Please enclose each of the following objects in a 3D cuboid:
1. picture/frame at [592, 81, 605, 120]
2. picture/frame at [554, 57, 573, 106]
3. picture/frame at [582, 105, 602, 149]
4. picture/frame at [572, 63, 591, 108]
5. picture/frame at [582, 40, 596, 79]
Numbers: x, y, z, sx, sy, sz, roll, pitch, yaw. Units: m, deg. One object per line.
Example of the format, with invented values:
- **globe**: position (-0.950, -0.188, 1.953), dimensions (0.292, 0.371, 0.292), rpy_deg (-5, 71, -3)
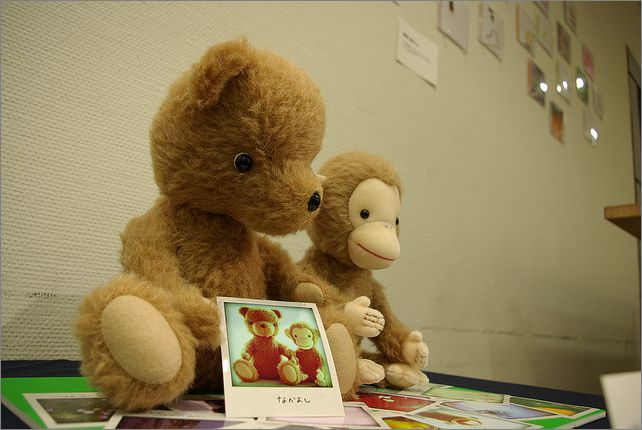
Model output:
- **picture/frame**: position (1.588, -0.654, 2.824), dimensions (0.025, 0.247, 0.257), rpy_deg (-5, -5, 42)
- **picture/frame**: position (1.244, -0.684, 2.539), dimensions (0.253, 0.243, 0.026), rpy_deg (12, -14, -40)
- **picture/frame**: position (1.486, -0.486, 2.718), dimensions (0.033, 0.239, 0.245), rpy_deg (-12, -17, 43)
- **picture/frame**: position (1.401, -0.699, 2.664), dimensions (0.026, 0.179, 0.257), rpy_deg (-9, -18, 43)
- **picture/frame**: position (1.504, -0.871, 2.774), dimensions (0.026, 0.177, 0.257), rpy_deg (-6, -13, 43)
